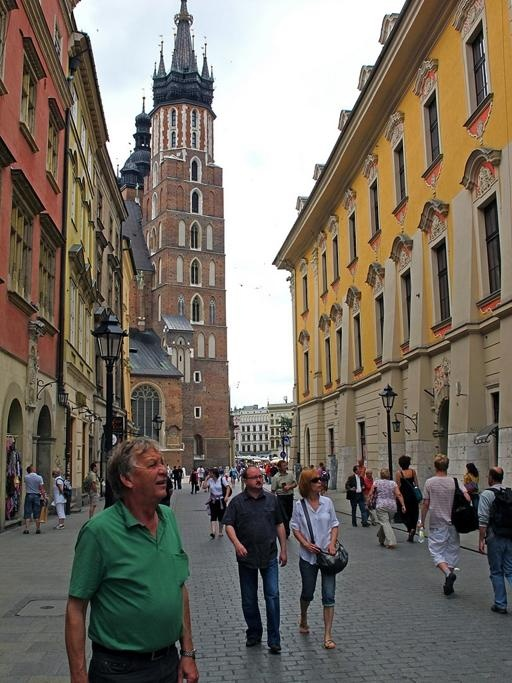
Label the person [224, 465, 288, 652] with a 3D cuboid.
[{"bbox_3d":[-0.015,1.986,6.288,0.580,1.598,0.965,-1,-9,1],"label":"person"}]

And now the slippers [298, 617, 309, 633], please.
[{"bbox_3d":[0.475,2.804,6.615,0.129,0.108,0.407,0,-15,-3],"label":"slippers"}]

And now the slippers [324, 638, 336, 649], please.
[{"bbox_3d":[0.647,2.624,5.811,0.100,0.061,0.163,-2,-10,6],"label":"slippers"}]

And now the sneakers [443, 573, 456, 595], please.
[{"bbox_3d":[2.405,2.980,8.280,0.148,0.290,0.613,-3,-10,14],"label":"sneakers"}]

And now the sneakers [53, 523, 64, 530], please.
[{"bbox_3d":[-5.023,4.652,16.863,0.130,0.178,0.352,8,-11,-40],"label":"sneakers"}]

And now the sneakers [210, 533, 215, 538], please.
[{"bbox_3d":[-1.053,4.658,16.049,0.122,0.152,0.087,-2,-8,23],"label":"sneakers"}]

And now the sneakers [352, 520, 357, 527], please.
[{"bbox_3d":[2.676,4.896,17.951,0.100,0.206,0.145,-4,6,-15],"label":"sneakers"}]

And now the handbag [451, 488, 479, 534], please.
[{"bbox_3d":[2.704,2.165,8.657,0.325,0.614,0.364,-4,-9,19],"label":"handbag"}]

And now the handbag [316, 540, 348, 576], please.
[{"bbox_3d":[0.718,2.007,6.210,0.292,0.276,0.301,0,-9,-5],"label":"handbag"}]

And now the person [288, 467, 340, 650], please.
[{"bbox_3d":[0.564,2.025,6.427,0.448,1.569,1.189,-2,-9,5],"label":"person"}]
